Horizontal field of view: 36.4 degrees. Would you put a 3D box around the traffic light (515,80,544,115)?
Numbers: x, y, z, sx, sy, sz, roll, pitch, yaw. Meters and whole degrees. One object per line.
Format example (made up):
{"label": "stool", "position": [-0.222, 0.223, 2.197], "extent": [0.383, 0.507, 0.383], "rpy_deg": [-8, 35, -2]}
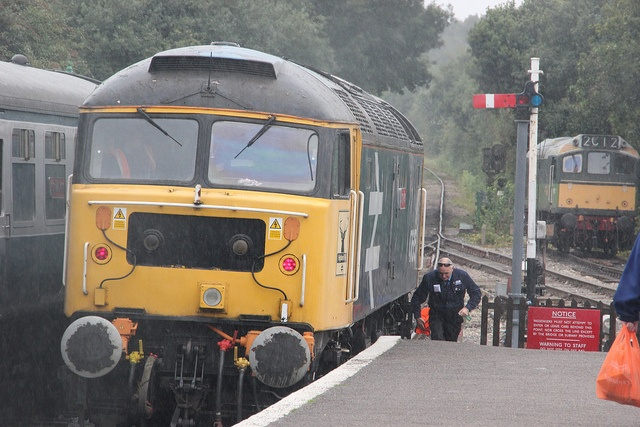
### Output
{"label": "traffic light", "position": [4.384, -2.499, 20.421], "extent": [0.487, 0.572, 0.610], "rpy_deg": [1, 2, 30]}
